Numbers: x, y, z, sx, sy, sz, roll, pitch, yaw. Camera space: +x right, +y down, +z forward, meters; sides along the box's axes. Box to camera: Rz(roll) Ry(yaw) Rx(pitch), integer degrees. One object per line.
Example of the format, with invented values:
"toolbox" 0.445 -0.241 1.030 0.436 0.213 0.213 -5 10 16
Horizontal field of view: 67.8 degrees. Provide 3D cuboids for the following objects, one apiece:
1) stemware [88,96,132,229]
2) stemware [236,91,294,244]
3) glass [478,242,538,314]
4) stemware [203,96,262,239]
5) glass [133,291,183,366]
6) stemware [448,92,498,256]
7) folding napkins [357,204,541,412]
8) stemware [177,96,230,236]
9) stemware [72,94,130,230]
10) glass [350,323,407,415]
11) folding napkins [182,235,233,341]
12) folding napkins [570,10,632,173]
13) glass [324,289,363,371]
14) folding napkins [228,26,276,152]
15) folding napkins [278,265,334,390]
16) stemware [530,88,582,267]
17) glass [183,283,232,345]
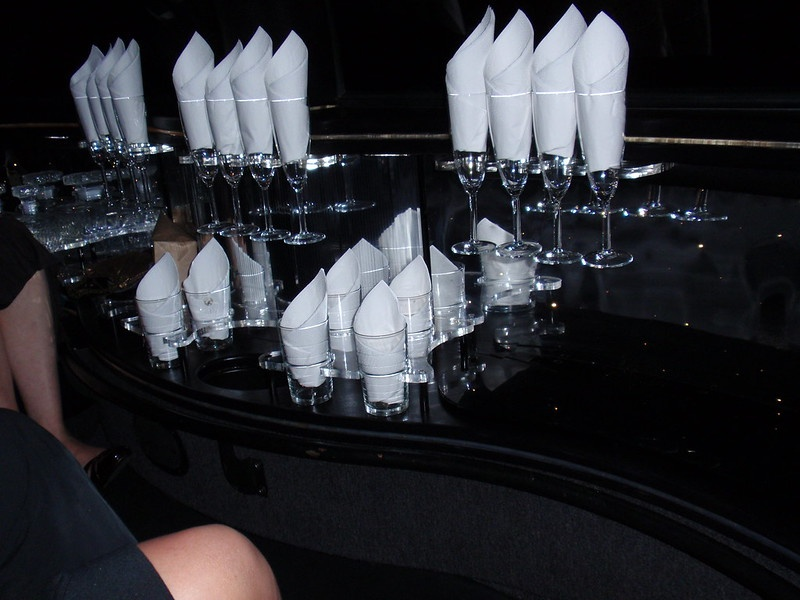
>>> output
"stemware" -1.063 -0.530 2.137 0.106 0.441 0.113 4 12 -8
"stemware" -0.359 -0.358 1.554 0.099 0.391 0.098 10 20 32
"glass" 0.261 -0.052 1.475 0.125 0.161 0.137 -1 3 0
"stemware" -0.450 -0.365 1.613 0.097 0.351 0.111 2 14 18
"glass" -0.660 0.078 1.668 0.118 0.216 0.121 -9 21 -27
"stemware" 0.162 -0.287 1.332 0.116 0.454 0.128 -6 33 1
"folding napkins" 0.088 0.012 1.447 0.284 0.332 0.453 1 36 7
"stemware" -0.538 -0.381 1.683 0.111 0.369 0.109 -16 19 -40
"stemware" -1.081 -0.526 2.175 0.130 0.509 0.128 -12 25 -38
"glass" -0.038 0.151 1.362 0.113 0.209 0.123 -3 17 -1
"folding napkins" -0.528 -0.010 1.689 0.099 0.249 0.098 8 13 35
"folding napkins" 0.402 -0.401 1.176 0.098 0.330 0.097 2 47 23
"glass" -0.147 0.023 1.545 0.080 0.147 0.082 -1 -3 -31
"folding napkins" -0.375 -0.516 1.497 0.094 0.319 0.101 3 46 -8
"folding napkins" -0.220 0.072 1.400 0.106 0.270 0.116 6 28 17
"stemware" 0.340 -0.275 1.307 0.102 0.403 0.112 8 37 23
"glass" -0.538 0.041 1.709 0.115 0.193 0.121 -3 23 -9
